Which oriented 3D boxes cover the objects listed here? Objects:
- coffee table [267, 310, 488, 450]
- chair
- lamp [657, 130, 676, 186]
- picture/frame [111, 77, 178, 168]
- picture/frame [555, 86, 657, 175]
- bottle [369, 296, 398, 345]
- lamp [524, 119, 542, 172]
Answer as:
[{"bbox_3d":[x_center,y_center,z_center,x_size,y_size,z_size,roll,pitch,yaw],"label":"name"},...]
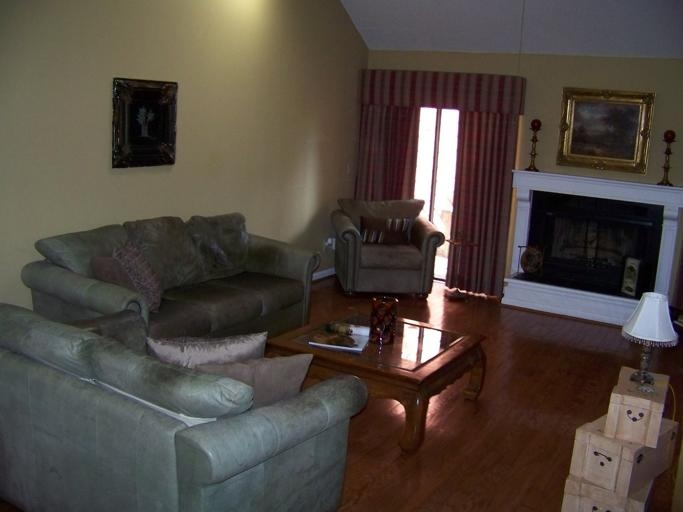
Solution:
[{"bbox_3d":[0.519,0.703,3.858,0.954,0.413,0.991,9,12,33],"label":"coffee table"},{"bbox_3d":[0.512,-0.113,6.761,1.412,1.140,1.394,-3,10,-36],"label":"chair"},{"bbox_3d":[3.506,-1.056,6.021,0.139,0.598,0.259,7,11,30],"label":"lamp"},{"bbox_3d":[-1.677,-1.147,4.718,0.080,0.841,0.705,10,14,35],"label":"picture/frame"},{"bbox_3d":[3.009,-1.445,6.296,0.882,0.936,0.076,7,9,19],"label":"picture/frame"},{"bbox_3d":[0.296,0.456,3.969,0.181,0.315,0.195,2,11,0],"label":"bottle"},{"bbox_3d":[2.249,-1.302,6.553,0.151,0.603,0.287,4,10,18],"label":"lamp"}]
